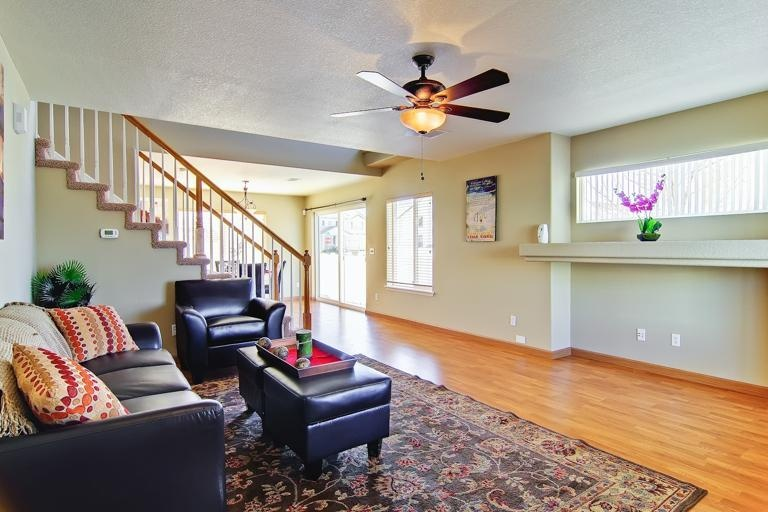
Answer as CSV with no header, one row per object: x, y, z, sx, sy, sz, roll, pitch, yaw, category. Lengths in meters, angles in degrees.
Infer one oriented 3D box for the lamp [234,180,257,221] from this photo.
-2.597,-1.061,9.548,0.338,0.615,1.397,0,5,-15,lamp

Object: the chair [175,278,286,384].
-1.740,0.770,5.578,1.122,0.923,0.850,-2,6,-28,chair

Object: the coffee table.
-0.664,1.224,4.319,0.927,0.663,1.527,-4,9,-40,coffee table

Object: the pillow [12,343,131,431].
-2.067,0.788,3.191,0.869,0.296,0.436,17,14,37,pillow

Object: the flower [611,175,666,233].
2.827,-0.530,5.428,0.459,0.450,0.218,-13,-12,35,flower

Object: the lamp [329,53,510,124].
0.436,-1.287,4.078,0.903,0.334,0.850,-1,-6,-2,lamp

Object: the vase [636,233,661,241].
2.780,-0.198,5.260,0.191,0.087,0.115,4,6,24,vase
